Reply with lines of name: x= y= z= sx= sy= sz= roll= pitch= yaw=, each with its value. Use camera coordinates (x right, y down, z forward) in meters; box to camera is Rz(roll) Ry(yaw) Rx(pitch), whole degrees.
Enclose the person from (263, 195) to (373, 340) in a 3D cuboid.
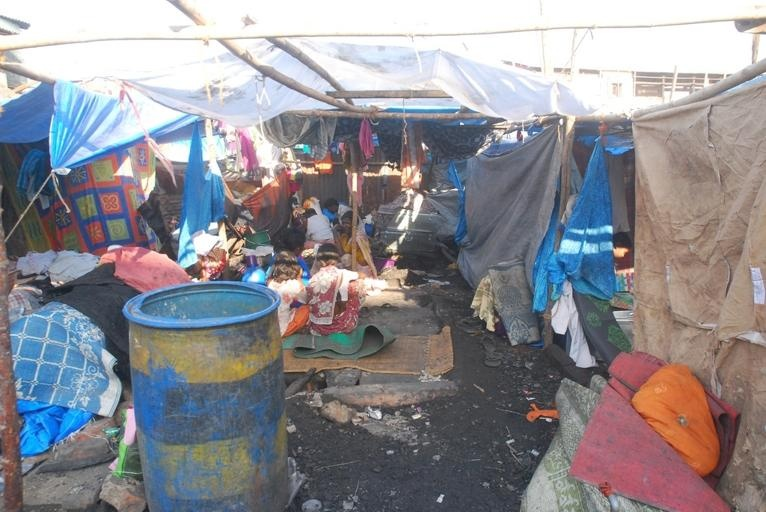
person: x=-0.838 y=0.469 z=7.389 sx=0.954 sy=0.711 sz=1.380 roll=2 pitch=11 yaw=7
